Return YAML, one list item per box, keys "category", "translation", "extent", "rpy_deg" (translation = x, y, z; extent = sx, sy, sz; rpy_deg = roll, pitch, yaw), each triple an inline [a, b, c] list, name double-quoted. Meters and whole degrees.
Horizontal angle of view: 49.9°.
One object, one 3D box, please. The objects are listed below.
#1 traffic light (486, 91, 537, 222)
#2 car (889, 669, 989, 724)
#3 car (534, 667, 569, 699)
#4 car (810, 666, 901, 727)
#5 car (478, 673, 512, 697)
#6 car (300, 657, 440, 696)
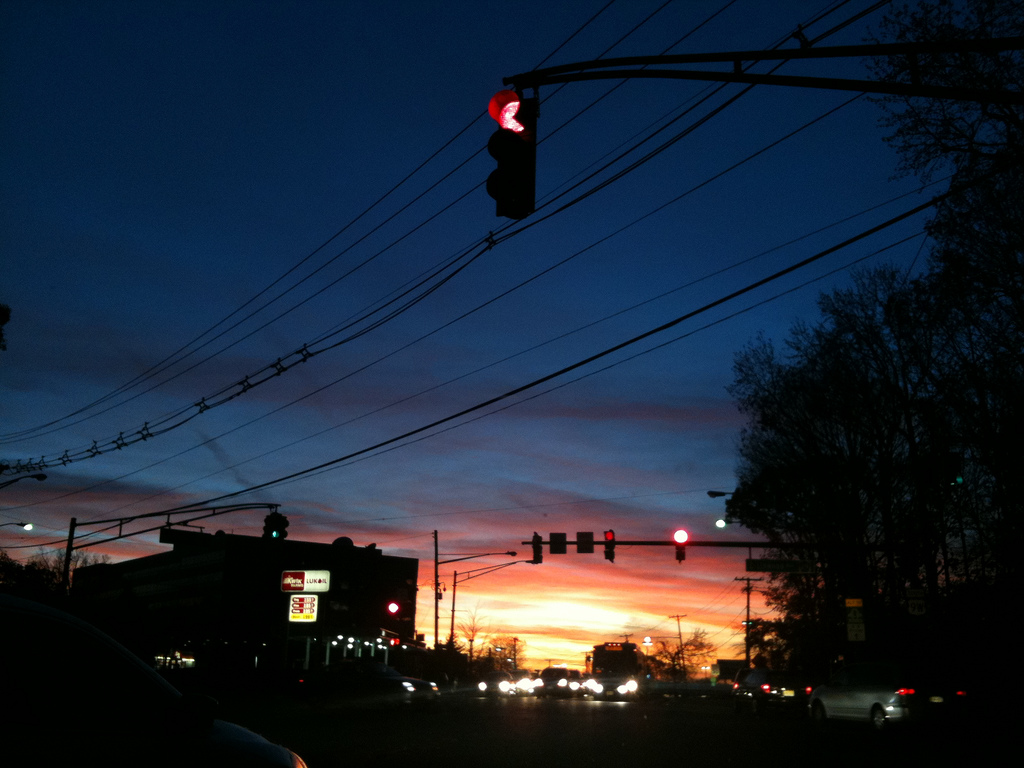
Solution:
- category: "traffic light"
  translation: [-0.027, -4.027, 18.959]
  extent: [0.872, 2.269, 0.773]
  rpy_deg: [4, -19, -3]
- category: "car"
  translation: [11.443, 8.623, 31.016]
  extent: [2.372, 1.070, 3.820]
  rpy_deg: [-1, -6, 5]
- category: "car"
  translation: [2.269, 16.980, 62.473]
  extent: [1.900, 1.494, 4.241]
  rpy_deg: [3, -17, 1]
- category: "car"
  translation: [10.579, 9.376, 32.640]
  extent: [1.997, 1.761, 4.149]
  rpy_deg: [8, -15, -23]
- category: "car"
  translation: [-0.902, 16.541, 60.479]
  extent: [1.780, 1.117, 5.566]
  rpy_deg: [3, -17, 0]
- category: "car"
  translation: [-5.407, 10.752, 39.619]
  extent: [4.408, 1.151, 1.775]
  rpy_deg: [-5, -15, 10]
